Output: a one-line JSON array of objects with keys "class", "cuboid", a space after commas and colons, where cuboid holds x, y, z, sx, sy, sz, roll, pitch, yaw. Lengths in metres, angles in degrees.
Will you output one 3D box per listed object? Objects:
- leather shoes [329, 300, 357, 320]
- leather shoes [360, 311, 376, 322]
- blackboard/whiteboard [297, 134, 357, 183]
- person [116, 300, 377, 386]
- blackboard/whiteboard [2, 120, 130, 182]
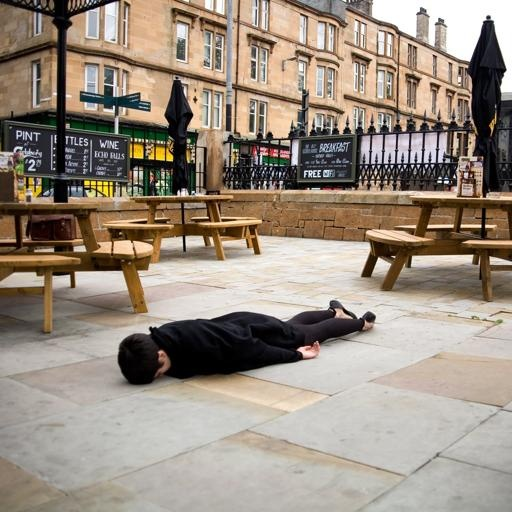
[{"class": "leather shoes", "cuboid": [0.695, 0.458, 4.279, 0.085, 0.106, 0.298, -6, 27, -41]}, {"class": "leather shoes", "cuboid": [0.967, 0.534, 4.360, 0.130, 0.086, 0.086, 11, -5, -21]}, {"class": "blackboard/whiteboard", "cuboid": [1.977, -2.641, 13.689, 1.680, 1.134, 0.129, 3, 2, 34]}, {"class": "person", "cuboid": [-0.067, 0.544, 3.438, 1.505, 0.266, 0.577, -2, 3, -34]}, {"class": "blackboard/whiteboard", "cuboid": [-3.993, -2.207, 10.869, 0.336, 1.076, 2.887, 5, 8, 38]}]
